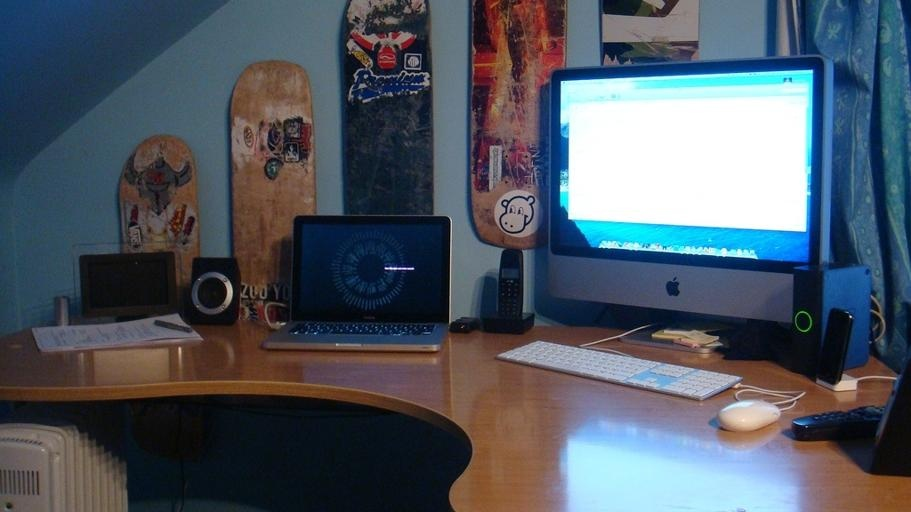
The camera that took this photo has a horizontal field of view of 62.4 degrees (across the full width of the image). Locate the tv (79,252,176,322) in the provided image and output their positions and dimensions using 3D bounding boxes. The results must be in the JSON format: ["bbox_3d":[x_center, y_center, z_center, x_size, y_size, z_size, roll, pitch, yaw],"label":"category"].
[{"bbox_3d":[-1.212,0.111,2.862,0.485,0.295,0.240,-1,-1,-9],"label":"tv"}]

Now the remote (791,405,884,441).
[{"bbox_3d":[1.078,0.466,2.102,0.218,0.044,0.105,-2,5,2],"label":"remote"}]

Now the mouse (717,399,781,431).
[{"bbox_3d":[0.858,0.455,2.151,0.218,0.080,0.056,-1,3,-20],"label":"mouse"}]
